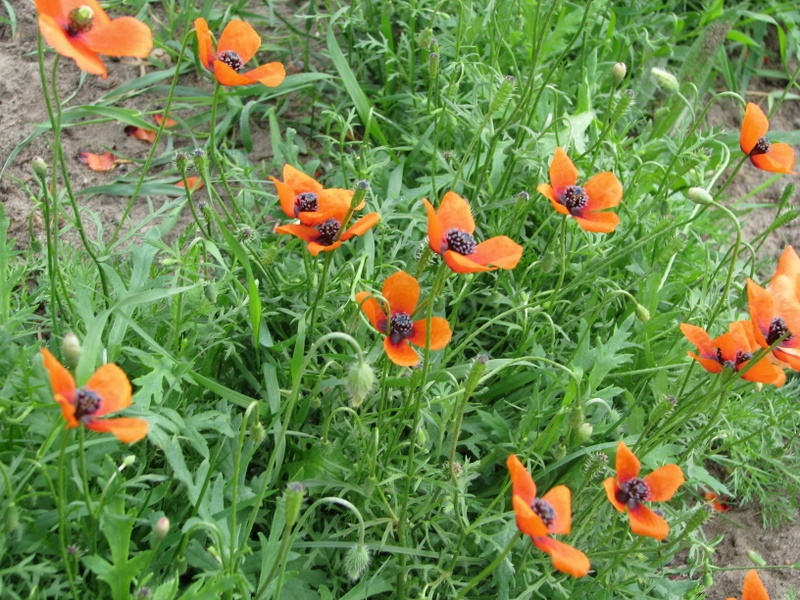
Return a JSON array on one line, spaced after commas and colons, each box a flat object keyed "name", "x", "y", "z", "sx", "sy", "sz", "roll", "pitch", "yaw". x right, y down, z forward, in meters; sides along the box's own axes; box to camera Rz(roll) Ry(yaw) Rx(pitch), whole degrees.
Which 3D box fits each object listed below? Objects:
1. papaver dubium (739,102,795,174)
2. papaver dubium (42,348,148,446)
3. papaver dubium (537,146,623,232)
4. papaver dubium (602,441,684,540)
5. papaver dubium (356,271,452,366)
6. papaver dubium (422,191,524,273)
[{"name": "papaver dubium", "x": 1.316, "y": -0.569, "z": 2.672, "sx": 0.244, "sy": 0.123, "sz": 0.292, "roll": 1, "pitch": 72, "yaw": -56}, {"name": "papaver dubium", "x": -0.750, "y": 0.221, "z": 1.735, "sx": 0.253, "sy": 0.126, "sz": 0.225, "roll": 61, "pitch": 8, "yaw": 25}, {"name": "papaver dubium", "x": 0.588, "y": -0.298, "z": 2.482, "sx": 0.292, "sy": 0.117, "sz": 0.306, "roll": 26, "pitch": 49, "yaw": -11}, {"name": "papaver dubium", "x": 0.669, "y": 0.538, "z": 2.081, "sx": 0.214, "sy": 0.176, "sz": 0.245, "roll": 31, "pitch": 36, "yaw": 9}, {"name": "papaver dubium", "x": -0.002, "y": 0.056, "z": 2.226, "sx": 0.291, "sy": 0.129, "sz": 0.264, "roll": -14, "pitch": 39, "yaw": -30}, {"name": "papaver dubium", "x": 0.202, "y": -0.172, "z": 2.194, "sx": 0.272, "sy": 0.130, "sz": 0.332, "roll": -7, "pitch": 44, "yaw": -31}]
